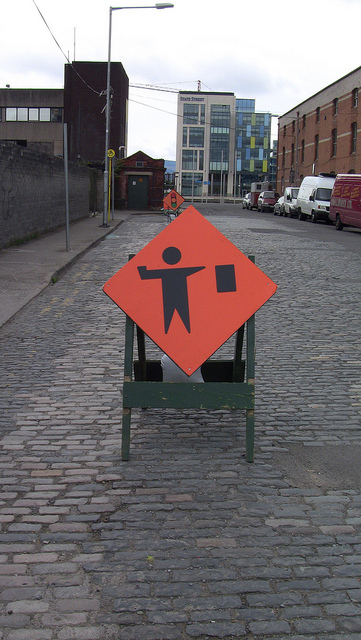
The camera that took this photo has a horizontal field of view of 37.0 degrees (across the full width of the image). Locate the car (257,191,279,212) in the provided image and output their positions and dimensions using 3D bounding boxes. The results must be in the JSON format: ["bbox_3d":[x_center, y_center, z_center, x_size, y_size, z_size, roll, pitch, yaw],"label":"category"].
[{"bbox_3d":[8.531,-11.565,52.934,1.216,1.308,2.499,-2,8,-4],"label":"car"}]

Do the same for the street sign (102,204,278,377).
[{"bbox_3d":[0.062,-0.207,3.702,1.237,1.331,0.051,-1,-24,2],"label":"street sign"}]

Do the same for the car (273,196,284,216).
[{"bbox_3d":[8.449,-9.577,46.025,0.829,0.843,1.523,1,19,2],"label":"car"}]
